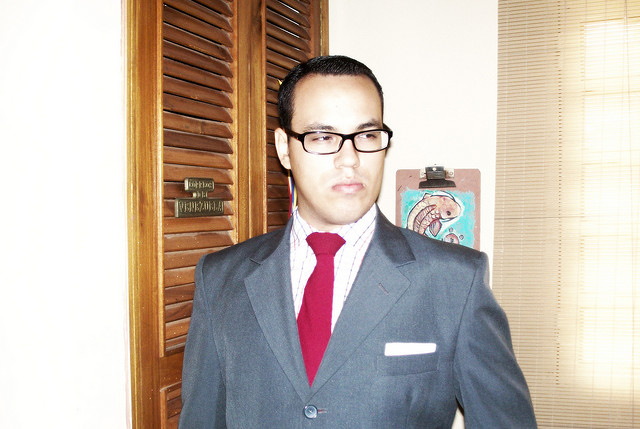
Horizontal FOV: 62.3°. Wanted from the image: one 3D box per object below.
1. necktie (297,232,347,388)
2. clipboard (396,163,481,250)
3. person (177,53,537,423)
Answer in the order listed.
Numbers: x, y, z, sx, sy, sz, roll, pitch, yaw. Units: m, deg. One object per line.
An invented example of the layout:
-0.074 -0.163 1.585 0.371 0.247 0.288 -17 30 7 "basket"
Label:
-0.012 0.273 1.544 0.121 0.413 0.051 1 -18 10 "necktie"
0.548 -0.022 2.484 0.405 0.449 0.074 4 34 17 "clipboard"
0.087 0.079 1.569 1.020 1.130 0.380 0 5 21 "person"
